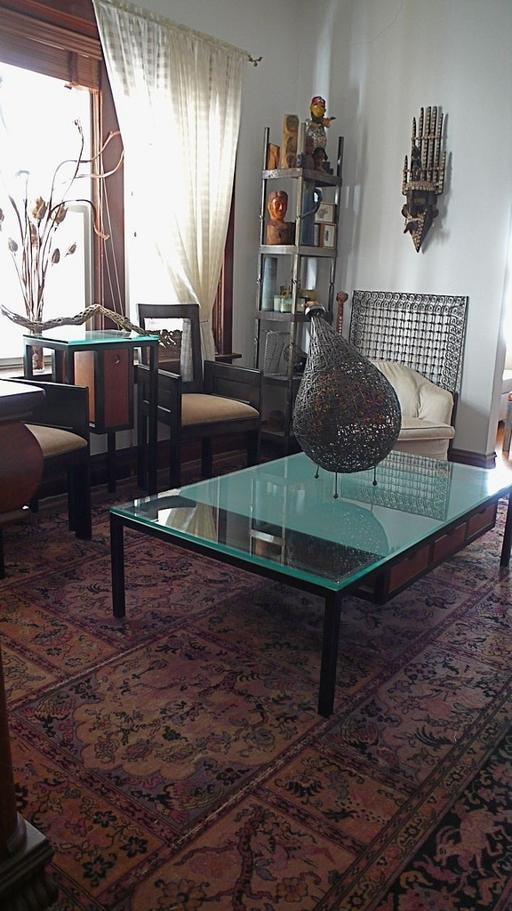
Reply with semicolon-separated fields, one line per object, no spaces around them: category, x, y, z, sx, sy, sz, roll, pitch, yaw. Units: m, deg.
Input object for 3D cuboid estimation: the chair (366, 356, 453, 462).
chair;0.957;-0.267;3.640;0.484;0.681;0.567;-2;9;-21
